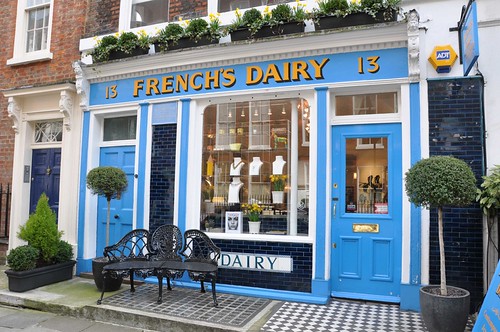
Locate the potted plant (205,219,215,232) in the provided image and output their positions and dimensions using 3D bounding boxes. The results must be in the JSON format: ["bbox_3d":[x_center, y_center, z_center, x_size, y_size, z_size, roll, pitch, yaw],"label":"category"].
[{"bbox_3d":[-0.834,1.266,9.602,0.255,0.245,0.136,3,1,12],"label":"potted plant"}]

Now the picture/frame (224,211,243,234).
[{"bbox_3d":[-0.327,1.185,9.480,0.435,0.489,0.185,-2,-13,12],"label":"picture/frame"}]

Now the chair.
[{"bbox_3d":[-1.717,1.951,9.221,2.372,1.517,1.480,-1,-6,5],"label":"chair"}]

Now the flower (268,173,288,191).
[{"bbox_3d":[0.584,0.332,9.404,0.367,0.363,0.315,2,-1,9],"label":"flower"}]

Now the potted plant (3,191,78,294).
[{"bbox_3d":[-4.352,1.581,9.587,1.280,2.002,0.520,4,-8,-30],"label":"potted plant"}]

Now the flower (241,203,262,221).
[{"bbox_3d":[0.045,0.971,9.429,0.367,0.368,0.373,-4,-9,28],"label":"flower"}]

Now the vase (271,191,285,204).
[{"bbox_3d":[0.573,0.628,9.335,0.263,0.254,0.227,2,0,33],"label":"vase"}]

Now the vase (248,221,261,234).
[{"bbox_3d":[0.095,1.272,9.466,0.279,0.222,0.236,1,-3,12],"label":"vase"}]
